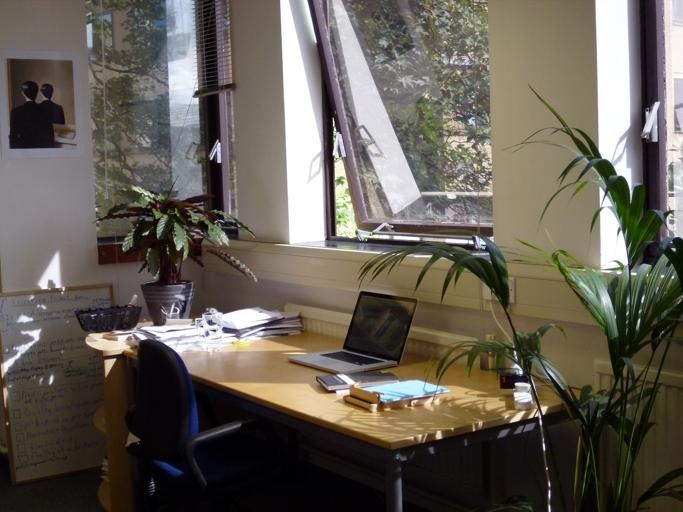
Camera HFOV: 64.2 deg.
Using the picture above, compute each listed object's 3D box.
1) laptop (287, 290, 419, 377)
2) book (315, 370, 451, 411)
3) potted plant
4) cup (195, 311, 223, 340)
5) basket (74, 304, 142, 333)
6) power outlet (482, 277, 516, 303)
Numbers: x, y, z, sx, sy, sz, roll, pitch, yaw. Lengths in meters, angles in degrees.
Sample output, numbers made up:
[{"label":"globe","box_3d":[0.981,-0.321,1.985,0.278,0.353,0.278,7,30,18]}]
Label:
[{"label":"laptop","box_3d":[0.059,0.366,2.747,0.543,0.357,0.533,2,-1,-27]},{"label":"book","box_3d":[0.178,0.546,2.318,0.496,0.073,0.413,-3,8,-15]},{"label":"potted plant","box_3d":[-1.001,0.034,3.471,0.638,0.516,0.698,-19,5,-37]},{"label":"cup","box_3d":[-0.769,0.407,3.185,0.185,0.186,0.110,-4,6,-32]},{"label":"basket","box_3d":[-1.470,0.402,3.475,0.288,0.129,0.216,-1,-1,-27]},{"label":"power outlet","box_3d":[0.729,0.163,2.510,0.113,0.118,0.070,-6,-7,25]}]
